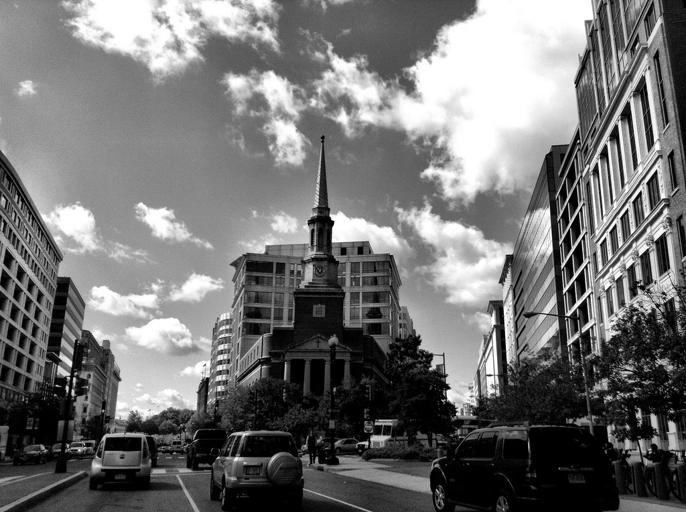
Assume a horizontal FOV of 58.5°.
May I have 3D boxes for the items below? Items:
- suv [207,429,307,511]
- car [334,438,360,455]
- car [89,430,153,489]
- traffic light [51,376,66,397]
[{"bbox_3d":[-3.060,7.223,21.010,1.769,1.833,3.888,5,-20,-13],"label":"suv"},{"bbox_3d":[0.427,19.401,62.642,2.593,1.316,1.574,14,-25,-18],"label":"car"},{"bbox_3d":[-8.976,8.230,24.863,1.638,1.600,3.039,3,-21,-13],"label":"car"},{"bbox_3d":[-15.258,6.957,33.067,0.553,0.938,1.019,10,-25,-18],"label":"traffic light"}]
